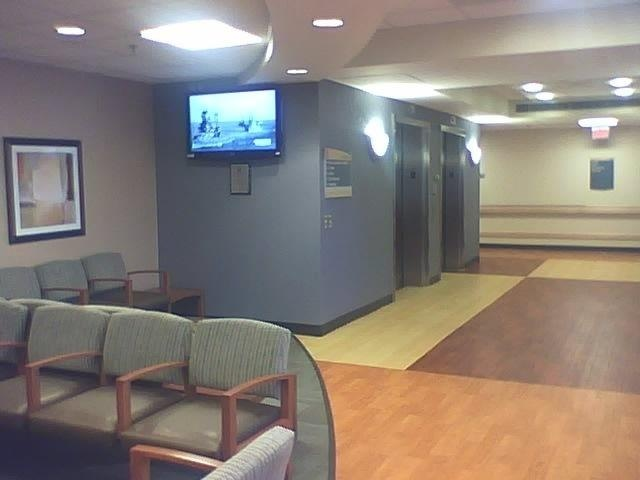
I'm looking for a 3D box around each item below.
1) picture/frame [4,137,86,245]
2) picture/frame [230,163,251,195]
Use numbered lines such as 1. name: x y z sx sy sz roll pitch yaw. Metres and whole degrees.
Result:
1. picture/frame: -3.202 -0.575 5.473 0.101 1.440 1.195 1 3 27
2. picture/frame: -1.059 -0.803 6.280 0.294 0.389 0.035 1 10 5
